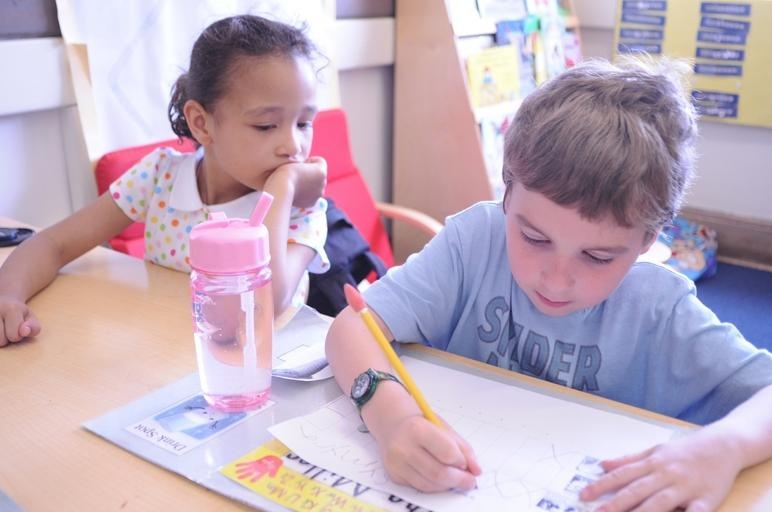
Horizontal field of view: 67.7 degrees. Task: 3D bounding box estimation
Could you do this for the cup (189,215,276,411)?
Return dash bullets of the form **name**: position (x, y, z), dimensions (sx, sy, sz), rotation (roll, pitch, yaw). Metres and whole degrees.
- **cup**: position (-0.241, 0.098, 0.911), dimensions (0.126, 0.315, 0.082), rotation (-6, 19, -12)
